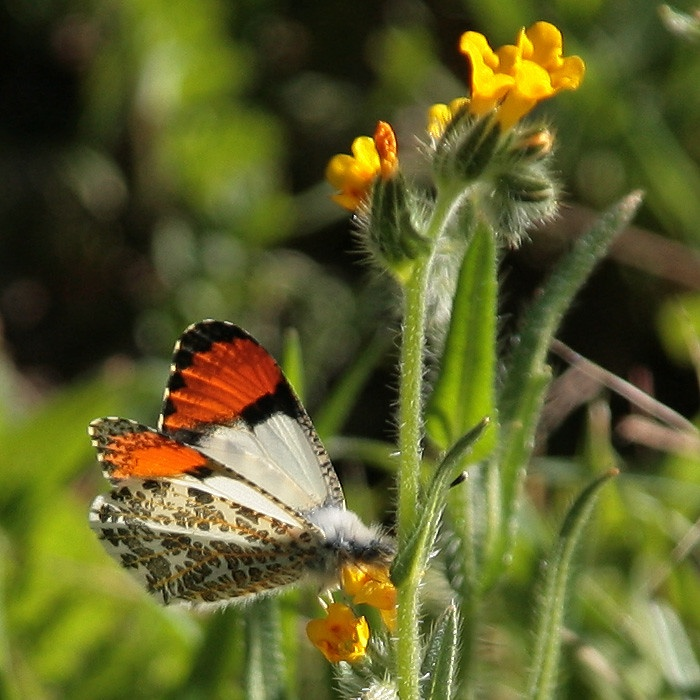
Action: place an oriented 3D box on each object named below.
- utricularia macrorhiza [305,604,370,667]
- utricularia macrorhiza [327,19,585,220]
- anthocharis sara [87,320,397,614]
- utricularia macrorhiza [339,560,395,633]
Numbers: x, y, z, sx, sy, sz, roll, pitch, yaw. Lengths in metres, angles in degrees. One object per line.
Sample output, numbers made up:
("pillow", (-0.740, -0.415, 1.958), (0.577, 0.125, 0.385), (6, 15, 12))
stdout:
("utricularia macrorhiza", (-0.017, 0.543, 1.881), (0.109, 0.055, 0.114), (-39, 73, -6))
("utricularia macrorhiza", (0.212, -0.463, 1.976), (0.464, 0.324, 0.263), (-19, 33, -21))
("anthocharis sara", (-0.221, 0.267, 2.077), (0.660, 0.627, 0.309), (1, 33, 11))
("utricularia macrorhiza", (0.050, 0.472, 1.936), (0.050, 0.136, 0.132), (-48, 5, 0))
